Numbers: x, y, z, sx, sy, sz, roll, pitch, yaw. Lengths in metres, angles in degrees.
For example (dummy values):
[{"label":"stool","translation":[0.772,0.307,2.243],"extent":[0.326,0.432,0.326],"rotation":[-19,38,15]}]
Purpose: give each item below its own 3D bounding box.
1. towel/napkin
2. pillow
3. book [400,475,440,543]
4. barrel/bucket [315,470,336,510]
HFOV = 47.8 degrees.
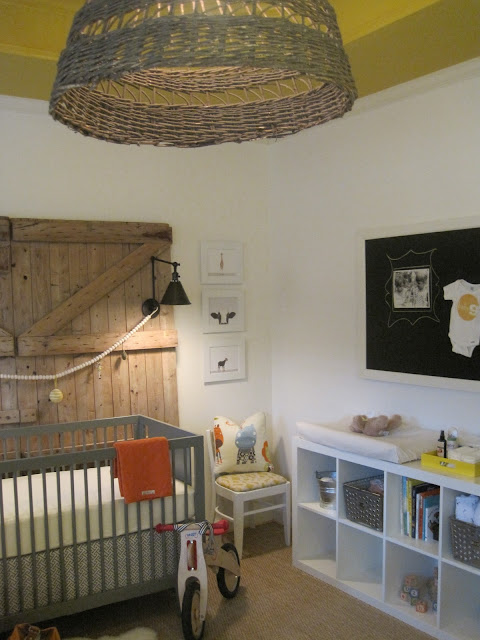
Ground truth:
[{"label":"towel/napkin","translation":[-0.438,0.679,2.509],"extent":[0.282,0.282,0.092],"rotation":[1,-9,-28]},{"label":"pillow","translation":[-0.011,0.828,3.524],"extent":[0.374,0.360,0.148],"rotation":[-8,-12,-12]},{"label":"book","translation":[0.865,0.892,2.585],"extent":[0.179,0.274,0.152],"rotation":[-2,-3,5]},{"label":"barrel/bucket","translation":[0.488,0.961,3.062],"extent":[0.157,0.160,0.136],"rotation":[-2,-2,21]}]
